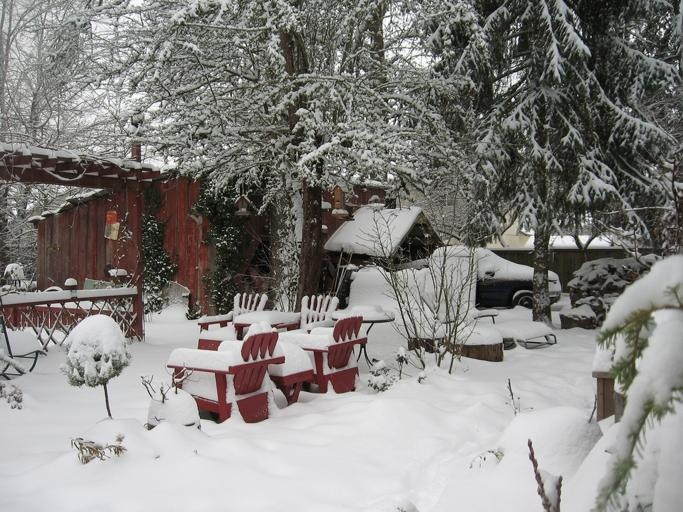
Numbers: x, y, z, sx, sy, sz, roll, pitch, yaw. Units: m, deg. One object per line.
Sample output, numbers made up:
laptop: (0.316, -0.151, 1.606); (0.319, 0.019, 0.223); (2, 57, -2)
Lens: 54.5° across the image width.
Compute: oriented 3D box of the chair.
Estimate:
chair: (-1.042, 1.562, 9.389); (2.715, 1.316, 1.118); (-2, 1, -45)

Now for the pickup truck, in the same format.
pickup truck: (3.412, 0.576, 16.642); (3.143, 1.668, 2.207); (-2, 1, -3)

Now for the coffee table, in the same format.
coffee table: (0.483, 1.346, 11.641); (0.821, 1.006, 0.951); (-1, -3, -1)
